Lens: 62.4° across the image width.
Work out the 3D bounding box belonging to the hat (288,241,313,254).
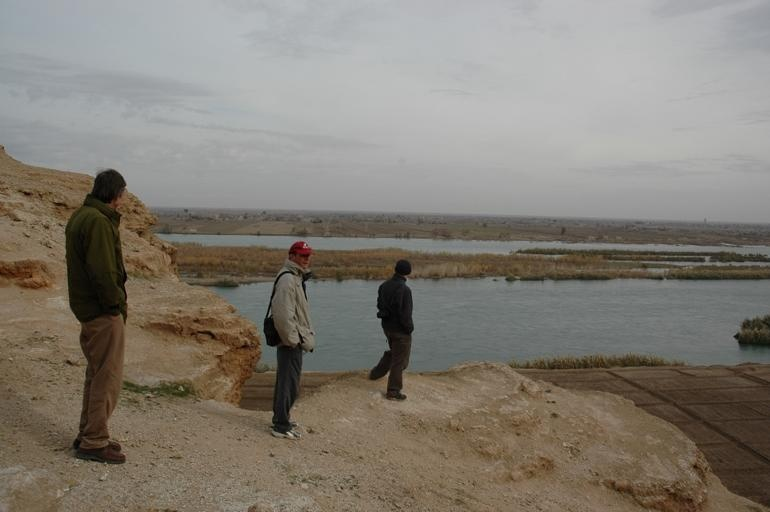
[{"bbox_3d":[-1.429,-0.138,10.744,0.351,0.169,0.255,-10,-8,37],"label":"hat"}]

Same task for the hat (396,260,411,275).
[{"bbox_3d":[0.374,0.227,12.885,0.321,0.219,0.297,2,10,-1],"label":"hat"}]

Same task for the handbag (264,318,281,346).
[{"bbox_3d":[-1.862,1.261,10.550,0.258,0.511,0.273,0,8,-12],"label":"handbag"}]

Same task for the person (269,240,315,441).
[{"bbox_3d":[-1.611,1.420,10.752,0.787,3.315,0.721,1,8,-7],"label":"person"}]

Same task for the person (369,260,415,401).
[{"bbox_3d":[0.159,1.488,12.913,0.771,2.820,0.973,2,8,0],"label":"person"}]

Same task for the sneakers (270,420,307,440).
[{"bbox_3d":[-1.672,2.979,10.875,0.675,0.271,0.230,0,6,-10],"label":"sneakers"}]
